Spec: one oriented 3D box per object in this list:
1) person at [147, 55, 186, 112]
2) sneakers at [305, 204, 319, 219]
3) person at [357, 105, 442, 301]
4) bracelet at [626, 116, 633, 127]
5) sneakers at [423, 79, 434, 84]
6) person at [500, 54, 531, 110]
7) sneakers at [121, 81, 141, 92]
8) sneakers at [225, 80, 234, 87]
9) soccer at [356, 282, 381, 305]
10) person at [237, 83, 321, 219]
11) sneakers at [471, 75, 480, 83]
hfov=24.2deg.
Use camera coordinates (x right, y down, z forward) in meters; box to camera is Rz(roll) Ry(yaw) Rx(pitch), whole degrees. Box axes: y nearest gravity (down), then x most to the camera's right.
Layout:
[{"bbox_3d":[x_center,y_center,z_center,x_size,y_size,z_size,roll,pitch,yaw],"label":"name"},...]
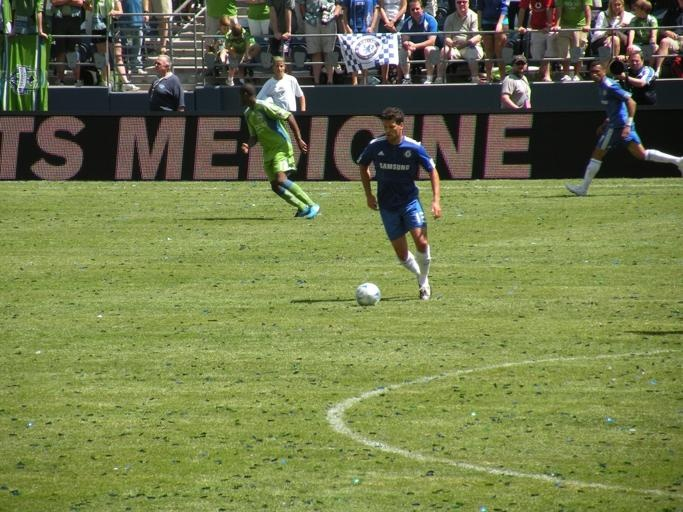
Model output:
[{"bbox_3d":[-3.635,-3.559,32.902,0.692,1.139,1.215,1,6,-7],"label":"person"},{"bbox_3d":[-0.543,-0.805,28.978,0.193,0.128,0.352,1,-26,-13],"label":"sneakers"},{"bbox_3d":[0.855,-0.791,23.870,1.186,2.832,0.699,2,7,1],"label":"person"},{"bbox_3d":[5.286,-2.493,29.342,0.148,0.180,0.143,-1,-29,27],"label":"bracelet"},{"bbox_3d":[1.909,-3.906,35.682,0.178,0.123,0.267,2,6,2],"label":"sneakers"},{"bbox_3d":[3.652,-3.639,33.373,0.596,1.109,0.865,2,6,4],"label":"person"},{"bbox_3d":[-4.980,-3.939,37.144,0.399,0.139,0.171,-1,10,-5],"label":"sneakers"},{"bbox_3d":[-2.572,-3.954,36.366,0.233,0.190,0.126,0,-2,17],"label":"sneakers"},{"bbox_3d":[0.378,0.561,23.716,0.348,0.315,0.212,1,7,-2],"label":"soccer"},{"bbox_3d":[-1.191,-1.860,28.565,1.437,2.399,0.777,-3,8,-37],"label":"person"},{"bbox_3d":[2.993,-4.001,35.746,0.186,0.209,0.205,2,6,3],"label":"sneakers"}]
